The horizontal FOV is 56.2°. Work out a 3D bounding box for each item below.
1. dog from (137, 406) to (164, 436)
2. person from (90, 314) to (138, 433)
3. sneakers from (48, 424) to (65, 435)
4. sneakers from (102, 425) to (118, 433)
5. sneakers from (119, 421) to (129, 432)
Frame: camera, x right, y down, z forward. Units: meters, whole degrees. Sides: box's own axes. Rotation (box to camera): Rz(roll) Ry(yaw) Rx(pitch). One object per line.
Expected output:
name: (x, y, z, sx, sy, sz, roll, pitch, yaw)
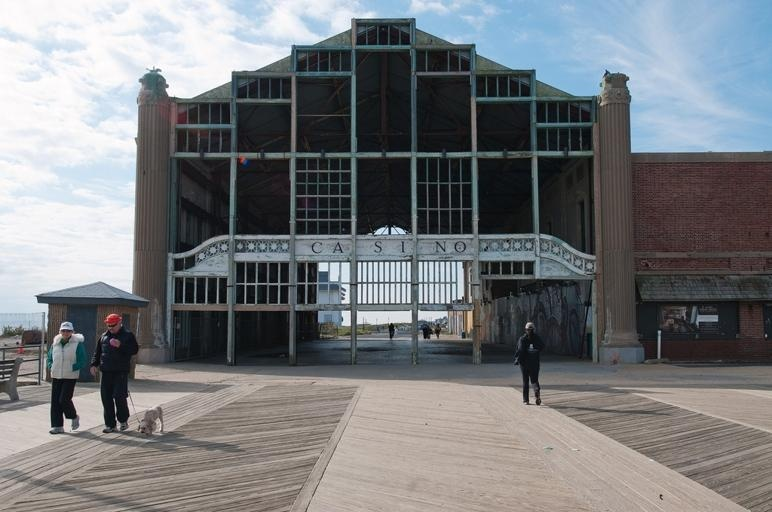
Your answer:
dog: (-5.439, 3.810, 16.818, 0.574, 0.583, 0.505, -4, 6, -41)
person: (-6.428, 2.750, 17.088, 0.991, 2.644, 0.877, -2, 5, -22)
sneakers: (-7.643, 4.043, 16.730, 0.362, 0.255, 0.139, 10, -19, -23)
sneakers: (-6.446, 4.047, 16.833, 0.325, 0.148, 0.130, -1, -4, 7)
sneakers: (-6.181, 3.990, 17.011, 0.215, 0.188, 0.304, -1, 5, -18)
